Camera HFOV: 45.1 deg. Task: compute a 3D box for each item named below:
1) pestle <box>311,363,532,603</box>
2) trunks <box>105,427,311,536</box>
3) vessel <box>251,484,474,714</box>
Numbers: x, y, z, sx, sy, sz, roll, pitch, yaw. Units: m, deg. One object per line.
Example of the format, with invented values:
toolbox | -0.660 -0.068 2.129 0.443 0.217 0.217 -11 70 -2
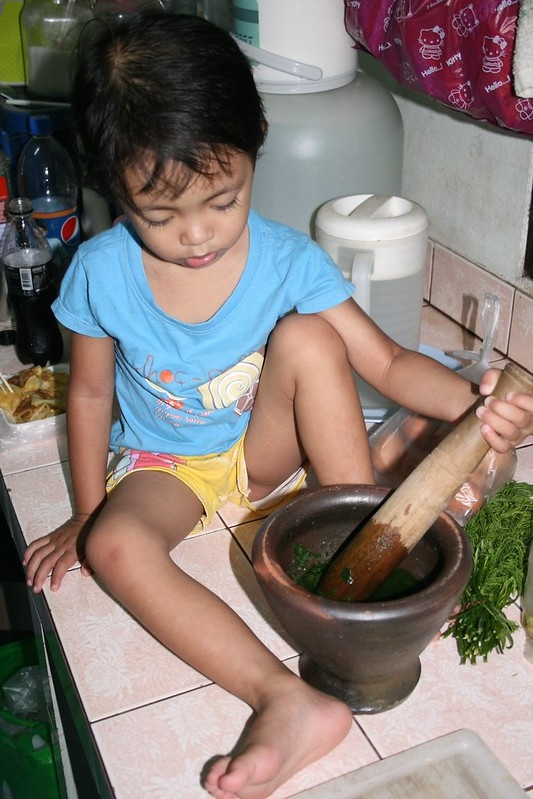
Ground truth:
pestle | 0.188 0.104 0.774 0.084 0.408 0.067 43 -1 5
trunks | -0.100 0.089 1.041 0.266 0.100 0.176 -12 19 -37
vessel | 0.085 0.207 0.725 0.263 0.191 0.249 -5 35 1
